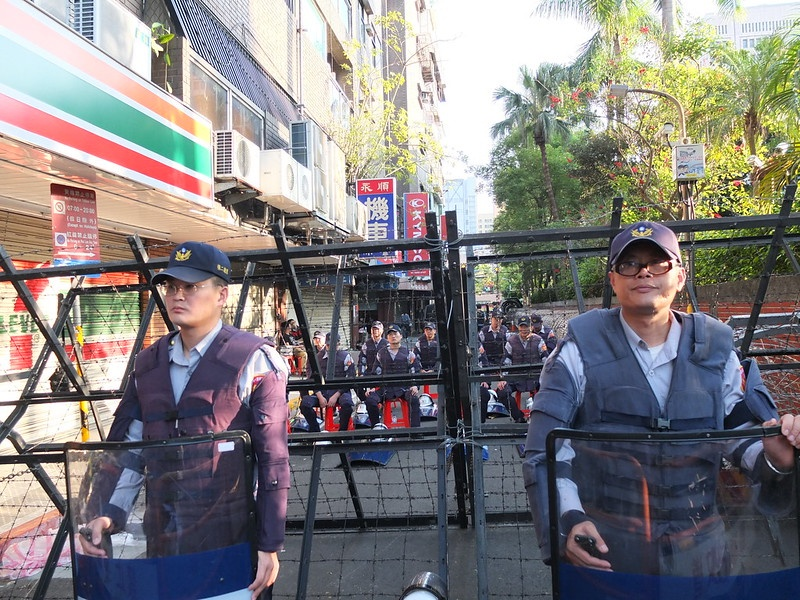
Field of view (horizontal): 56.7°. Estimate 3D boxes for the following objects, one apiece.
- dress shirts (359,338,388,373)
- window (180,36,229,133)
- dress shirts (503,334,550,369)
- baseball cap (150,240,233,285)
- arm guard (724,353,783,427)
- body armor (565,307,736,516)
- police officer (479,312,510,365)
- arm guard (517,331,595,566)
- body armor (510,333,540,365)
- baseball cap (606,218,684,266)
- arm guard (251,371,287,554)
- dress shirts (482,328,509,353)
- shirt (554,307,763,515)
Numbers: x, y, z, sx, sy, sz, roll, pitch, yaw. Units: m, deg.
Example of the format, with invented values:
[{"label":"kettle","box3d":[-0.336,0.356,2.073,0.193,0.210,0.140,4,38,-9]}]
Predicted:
[{"label":"dress shirts","box3d":[-0.391,0.853,11.554,0.584,0.637,0.344,1,0,-1]},{"label":"window","box3d":[-3.650,-3.696,13.124,0.097,1.198,2.090,-15,31,-38]},{"label":"dress shirts","box3d":[1.831,0.727,10.600,0.610,0.502,0.345,-2,-11,15]},{"label":"baseball cap","box3d":[-1.377,-0.245,5.000,0.396,0.284,0.580,1,-4,15]},{"label":"arm guard","box3d":[2.024,0.544,4.377,0.250,0.474,0.341,-11,-11,28]},{"label":"body armor","box3d":[1.547,0.618,4.264,0.928,1.235,0.685,-2,6,28]},{"label":"police officer","box3d":[1.761,0.934,13.760,0.620,1.400,0.463,-2,22,3]},{"label":"arm guard","box3d":[0.852,0.755,4.171,0.305,0.980,0.702,-3,-14,17]},{"label":"body armor","box3d":[1.957,0.764,11.465,0.519,0.568,0.308,-3,-13,19]},{"label":"baseball cap","box3d":[1.425,-0.307,4.475,0.372,0.274,0.510,-6,-5,15]},{"label":"arm guard","box3d":[-0.836,0.983,4.725,0.246,1.264,0.337,1,-10,-17]},{"label":"dress shirts","box3d":[1.760,0.707,13.831,0.638,0.641,0.361,1,-10,2]},{"label":"shirt","box3d":[1.434,0.698,4.130,1.189,1.167,0.714,-4,10,15]}]
